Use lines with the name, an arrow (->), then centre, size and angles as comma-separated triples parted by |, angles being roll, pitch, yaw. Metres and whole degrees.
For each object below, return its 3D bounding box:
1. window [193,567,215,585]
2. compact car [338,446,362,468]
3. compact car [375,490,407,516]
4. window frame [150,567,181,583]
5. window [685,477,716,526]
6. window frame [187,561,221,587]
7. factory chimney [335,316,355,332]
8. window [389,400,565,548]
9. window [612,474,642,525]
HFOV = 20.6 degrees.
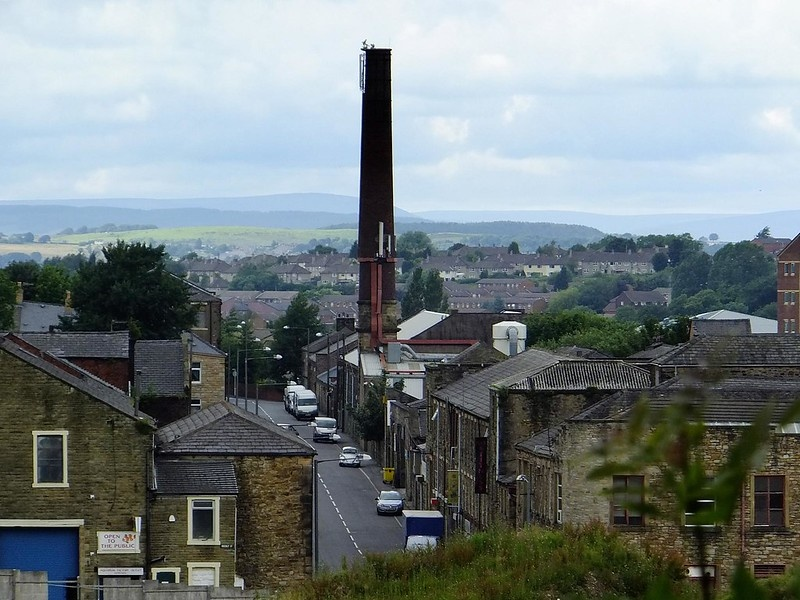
window -> -6.680, 9.658, 75.772 | 0.601, 0.409, 0.078 | 1, -10, -3
compact car -> -2.641, 8.943, 122.043 | 1.087, 0.832, 2.303 | 0, 0, -3
compact car -> -0.354, 9.811, 104.119 | 1.225, 0.939, 2.444 | 0, -4, -3
window frame -> -7.957, 9.528, 75.196 | 0.726, 0.506, 0.058 | 0, -5, -8
window -> 6.987, 5.005, 50.951 | 0.686, 0.779, 0.264 | -2, -3, -3
window frame -> -6.656, 9.540, 75.477 | 0.845, 0.696, 0.114 | 0, -6, -4
factory chimney -> -3.934, 1.814, 167.063 | 1.798, 1.277, 0.976 | 0, -1, -2
window -> 3.455, 7.367, 90.196 | 3.774, 3.920, 6.516 | 0, -1, -10
window -> 5.303, 4.748, 51.412 | 0.872, 1.294, 0.814 | 1, 7, 11
